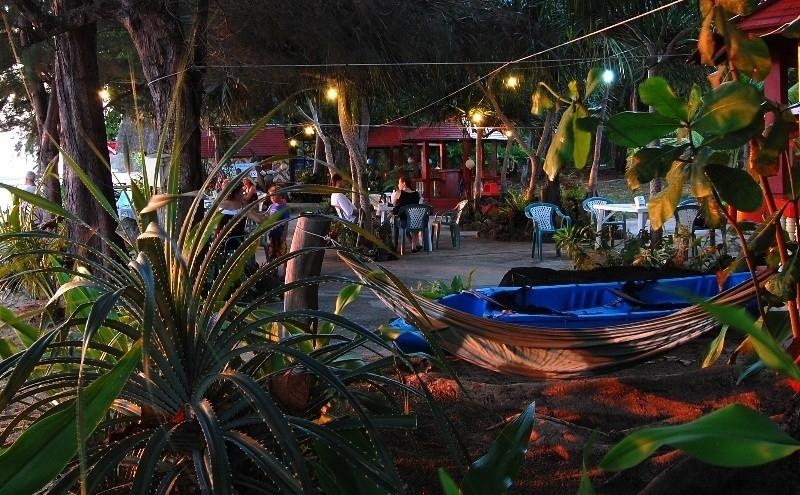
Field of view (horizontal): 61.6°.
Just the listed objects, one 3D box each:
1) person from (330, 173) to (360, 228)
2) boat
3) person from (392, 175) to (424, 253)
[{"bbox_3d":[-0.910,-0.749,10.729,0.427,0.855,0.529,-17,6,-9],"label":"person"},{"bbox_3d":[1.083,0.402,4.034,1.602,0.320,0.485,-8,14,-18],"label":"boat"},{"bbox_3d":[0.135,-0.627,12.186,0.497,1.315,1.428,-1,5,1],"label":"person"}]
